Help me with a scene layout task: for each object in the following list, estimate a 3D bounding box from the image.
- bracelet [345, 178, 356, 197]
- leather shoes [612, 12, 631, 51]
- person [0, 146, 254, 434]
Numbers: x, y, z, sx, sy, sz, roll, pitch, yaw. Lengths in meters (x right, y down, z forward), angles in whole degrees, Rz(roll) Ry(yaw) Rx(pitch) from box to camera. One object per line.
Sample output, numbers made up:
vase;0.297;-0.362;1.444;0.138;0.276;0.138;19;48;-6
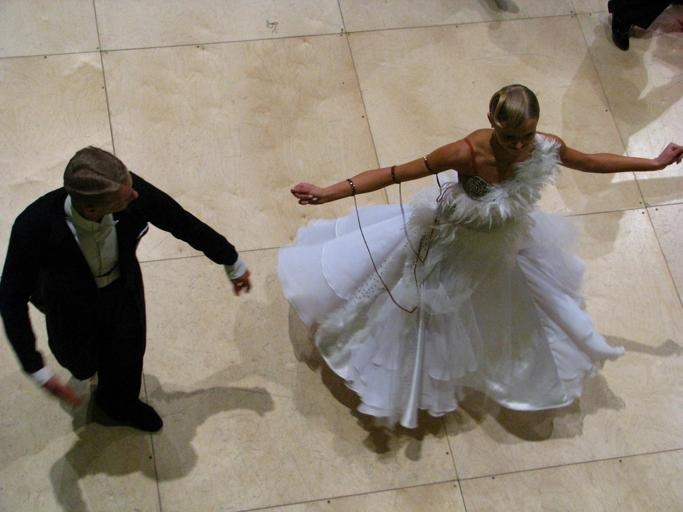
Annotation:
bracelet;0.046;-0.330;3.823;0.041;0.068;0.073;-16;60;-19
leather shoes;1.870;-1.485;5.206;0.083;0.107;0.300;-11;93;10
person;-1.090;0.223;3.795;1.025;1.328;0.715;-8;55;-9
